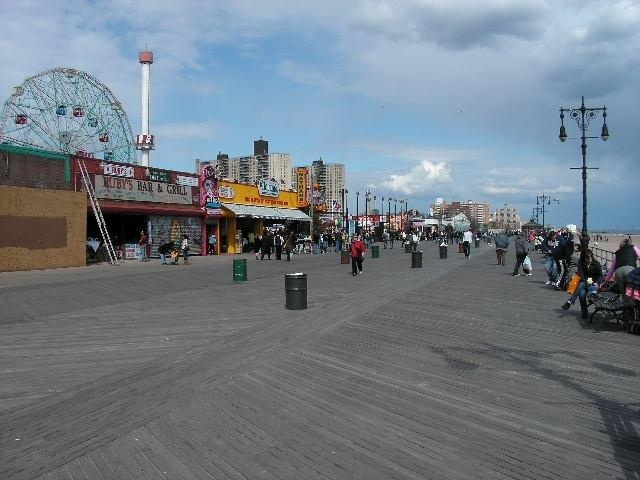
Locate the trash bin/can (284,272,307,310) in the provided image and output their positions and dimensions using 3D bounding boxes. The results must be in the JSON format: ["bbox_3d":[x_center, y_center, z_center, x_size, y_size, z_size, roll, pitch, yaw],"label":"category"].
[{"bbox_3d":[-0.542,1.220,13.886,0.664,0.762,0.710,-1,-2,-5],"label":"trash bin/can"}]

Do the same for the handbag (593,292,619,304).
[{"bbox_3d":[5.830,1.180,12.101,0.332,0.102,0.373,-3,3,6],"label":"handbag"}]

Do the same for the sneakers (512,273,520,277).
[{"bbox_3d":[7.433,1.344,22.683,0.340,0.122,0.244,-10,-12,16],"label":"sneakers"}]

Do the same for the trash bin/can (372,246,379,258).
[{"bbox_3d":[3.159,0.692,35.191,0.628,0.673,0.651,2,7,18],"label":"trash bin/can"}]

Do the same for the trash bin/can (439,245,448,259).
[{"bbox_3d":[7.345,0.707,35.606,0.565,0.861,0.587,3,11,24],"label":"trash bin/can"}]

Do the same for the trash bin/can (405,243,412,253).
[{"bbox_3d":[6.596,0.631,44.701,0.573,0.642,0.590,3,8,30],"label":"trash bin/can"}]

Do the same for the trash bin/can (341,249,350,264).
[{"bbox_3d":[1.234,0.862,29.815,0.529,0.603,0.545,-1,5,-4],"label":"trash bin/can"}]

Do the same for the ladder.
[{"bbox_3d":[-11.018,-1.512,29.863,1.758,5.265,1.183,5,9,33],"label":"ladder"}]

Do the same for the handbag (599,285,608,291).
[{"bbox_3d":[6.047,1.034,12.782,0.145,0.137,0.100,-8,0,25],"label":"handbag"}]

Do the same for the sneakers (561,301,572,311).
[{"bbox_3d":[5.524,1.454,13.398,0.158,0.208,0.482,8,10,20],"label":"sneakers"}]
